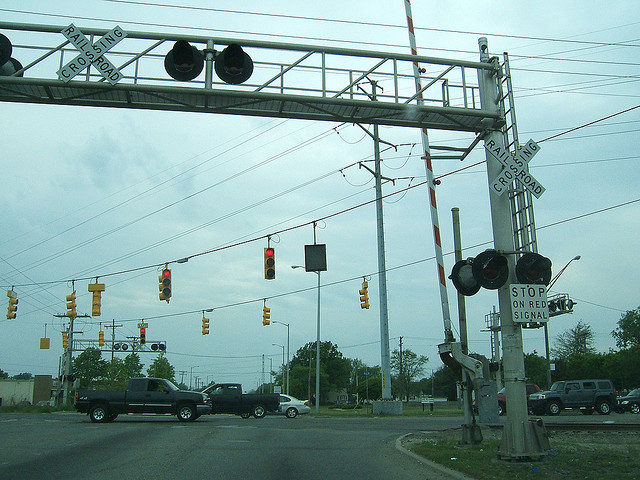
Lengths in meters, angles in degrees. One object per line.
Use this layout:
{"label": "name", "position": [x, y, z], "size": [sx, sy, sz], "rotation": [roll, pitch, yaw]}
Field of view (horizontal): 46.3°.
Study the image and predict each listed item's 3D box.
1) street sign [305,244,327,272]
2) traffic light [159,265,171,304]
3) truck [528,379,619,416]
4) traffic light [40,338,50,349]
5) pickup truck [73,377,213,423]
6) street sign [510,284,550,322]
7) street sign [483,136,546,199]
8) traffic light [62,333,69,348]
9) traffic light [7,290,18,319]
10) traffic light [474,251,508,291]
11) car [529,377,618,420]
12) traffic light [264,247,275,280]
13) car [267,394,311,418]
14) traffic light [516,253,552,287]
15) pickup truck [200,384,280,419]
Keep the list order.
{"label": "street sign", "position": [-0.220, 0.904, 35.432], "size": [1.399, 1.650, 0.121], "rotation": [-3, -23, -3]}
{"label": "traffic light", "position": [-7.333, 2.191, 35.464], "size": [0.482, 1.566, 0.818], "rotation": [4, -20, -15]}
{"label": "truck", "position": [13.155, 8.306, 39.033], "size": [3.711, 1.508, 2.096], "rotation": [2, -20, -1]}
{"label": "traffic light", "position": [-19.340, 7.334, 52.646], "size": [0.547, 0.663, 1.158], "rotation": [5, -20, -16]}
{"label": "pickup truck", "position": [-7.942, 7.140, 34.155], "size": [6.054, 1.950, 2.593], "rotation": [0, 1, -1]}
{"label": "street sign", "position": [5.750, 1.721, 20.553], "size": [1.125, 1.098, 0.047], "rotation": [2, -14, -14]}
{"label": "street sign", "position": [5.508, -2.046, 21.249], "size": [1.425, 1.768, 0.415], "rotation": [-4, -20, 7]}
{"label": "traffic light", "position": [-18.905, 7.427, 55.643], "size": [0.340, 1.066, 0.611], "rotation": [4, -20, -13]}
{"label": "traffic light", "position": [-15.980, 3.463, 38.858], "size": [0.379, 1.189, 1.768], "rotation": [6, -21, -19]}
{"label": "traffic light", "position": [4.662, 0.857, 20.616], "size": [1.082, 1.056, 0.297], "rotation": [-19, -7, -4]}
{"label": "car", "position": [13.269, 8.314, 39.119], "size": [3.702, 1.631, 2.206], "rotation": [3, -21, 0]}
{"label": "traffic light", "position": [-2.206, 1.072, 32.993], "size": [0.381, 1.388, 0.337], "rotation": [14, -25, -37]}
{"label": "car", "position": [-1.609, 8.893, 39.948], "size": [2.310, 0.751, 1.006], "rotation": [3, -12, -2]}
{"label": "traffic light", "position": [5.904, 0.827, 20.738], "size": [0.932, 0.831, 0.719], "rotation": [-6, -20, 14]}
{"label": "pickup truck", "position": [-4.080, 8.008, 36.981], "size": [4.653, 1.716, 2.190], "rotation": [0, -14, 5]}
